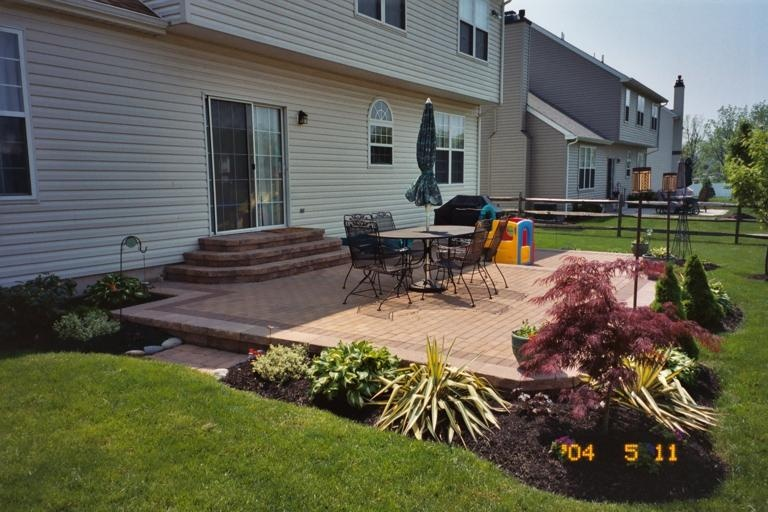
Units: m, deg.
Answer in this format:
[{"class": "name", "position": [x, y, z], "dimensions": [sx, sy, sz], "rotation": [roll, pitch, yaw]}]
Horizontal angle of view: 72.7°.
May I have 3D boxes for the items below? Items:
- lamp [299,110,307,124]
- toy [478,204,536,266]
[{"class": "lamp", "position": [-1.781, -3.049, 11.691], "dimensions": [0.097, 0.312, 0.349], "rotation": [2, 7, 19]}, {"class": "toy", "position": [2.637, -0.374, 11.469], "dimensions": [1.227, 1.163, 1.219], "rotation": [2, 10, 21]}]
